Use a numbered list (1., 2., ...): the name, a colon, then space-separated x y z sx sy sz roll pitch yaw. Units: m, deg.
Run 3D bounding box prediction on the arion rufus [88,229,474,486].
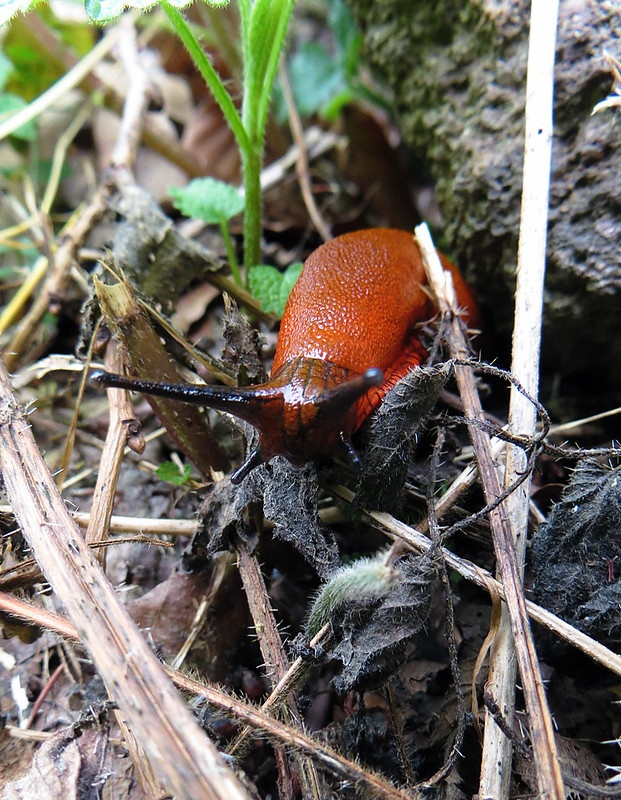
1. arion rufus: -0.027 -0.086 2.276 0.988 0.608 0.685 1 98 30
